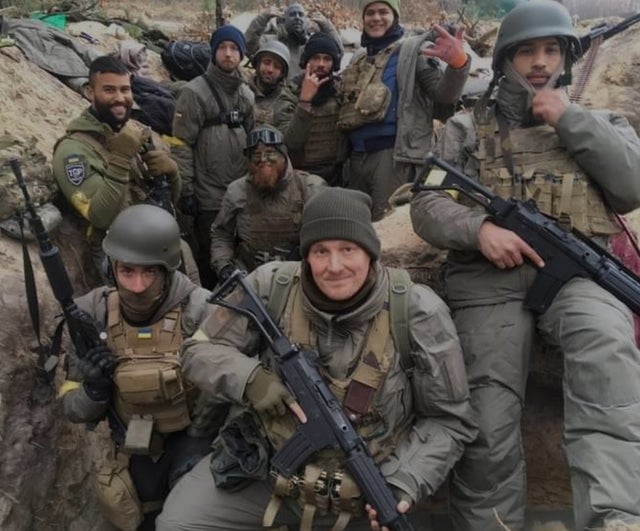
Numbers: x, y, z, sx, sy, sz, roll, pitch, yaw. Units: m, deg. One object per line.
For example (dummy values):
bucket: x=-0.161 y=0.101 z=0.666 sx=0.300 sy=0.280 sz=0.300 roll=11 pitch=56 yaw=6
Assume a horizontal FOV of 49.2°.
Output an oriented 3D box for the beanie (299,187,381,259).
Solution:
beanie: x=0.168 y=-0.294 z=5.596 sx=0.635 sy=0.552 sz=0.367 roll=8 pitch=30 yaw=-3

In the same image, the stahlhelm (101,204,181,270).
stahlhelm: x=-1.569 y=-0.278 z=6.212 sx=0.494 sy=0.518 sz=0.616 roll=26 pitch=30 yaw=33

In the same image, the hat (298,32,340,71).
hat: x=0.034 y=-2.714 z=8.561 sx=0.395 sy=0.449 sz=0.471 roll=2 pitch=-12 yaw=-2

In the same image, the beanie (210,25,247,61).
beanie: x=-1.114 y=-2.729 z=8.544 sx=0.309 sy=0.382 sz=0.454 roll=1 pitch=22 yaw=1

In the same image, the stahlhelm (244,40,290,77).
stahlhelm: x=-0.619 y=-2.801 z=9.425 sx=0.617 sy=0.756 sz=0.481 roll=5 pitch=22 yaw=19
